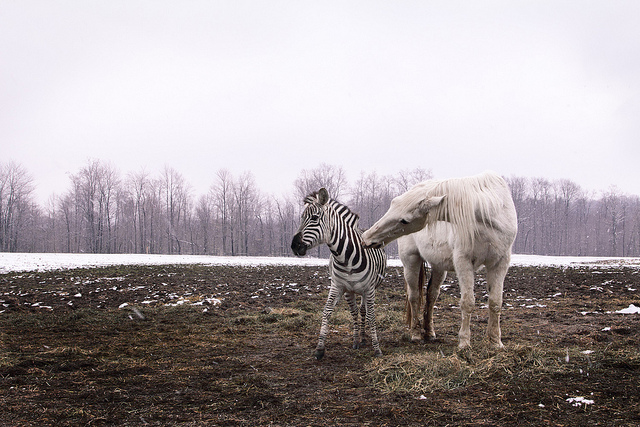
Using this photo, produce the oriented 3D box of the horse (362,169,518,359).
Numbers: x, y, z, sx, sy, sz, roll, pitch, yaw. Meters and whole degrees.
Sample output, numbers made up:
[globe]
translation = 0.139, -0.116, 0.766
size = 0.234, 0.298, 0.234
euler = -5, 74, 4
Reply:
[horse]
translation = 4.580, 1.679, 22.990
size = 2.495, 5.553, 8.704
euler = 3, -4, -17
